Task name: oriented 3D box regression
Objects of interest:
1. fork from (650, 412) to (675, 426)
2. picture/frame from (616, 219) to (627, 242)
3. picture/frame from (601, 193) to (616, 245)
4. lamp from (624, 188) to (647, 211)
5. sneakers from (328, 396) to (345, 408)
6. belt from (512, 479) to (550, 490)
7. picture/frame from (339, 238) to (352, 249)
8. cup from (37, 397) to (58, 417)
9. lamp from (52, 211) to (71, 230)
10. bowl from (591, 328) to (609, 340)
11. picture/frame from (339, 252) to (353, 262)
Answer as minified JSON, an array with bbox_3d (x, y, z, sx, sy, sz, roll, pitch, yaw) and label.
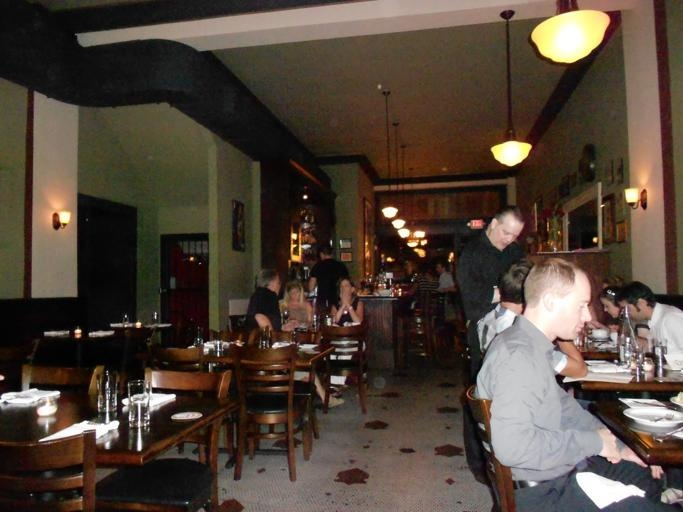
[{"bbox_3d":[2.005,1.007,3.714,0.185,0.063,0.056,-7,-8,-41],"label":"fork"},{"bbox_3d":[3.555,-0.333,7.552,0.028,0.296,0.287,4,-3,15],"label":"picture/frame"},{"bbox_3d":[3.568,-0.473,8.016,0.070,0.728,0.550,-2,8,42],"label":"picture/frame"},{"bbox_3d":[3.453,-0.680,6.963,0.226,0.299,0.180,2,0,16],"label":"lamp"},{"bbox_3d":[-0.078,1.675,6.828,0.224,0.147,0.077,-1,2,-18],"label":"sneakers"},{"bbox_3d":[1.109,1.358,3.531,0.172,0.053,0.026,2,7,10],"label":"belt"},{"bbox_3d":[0.099,-0.290,12.709,0.325,0.322,0.178,2,6,12],"label":"picture/frame"},{"bbox_3d":[-2.042,1.044,4.135,0.119,0.118,0.119,3,-7,0],"label":"cup"},{"bbox_3d":[-3.624,-0.461,7.751,0.075,0.250,0.302,3,7,20],"label":"lamp"},{"bbox_3d":[2.512,0.750,5.807,0.109,0.071,0.111,2,-3,0],"label":"bowl"},{"bbox_3d":[0.099,0.019,12.529,0.217,0.215,0.025,2,-23,-5],"label":"picture/frame"}]
